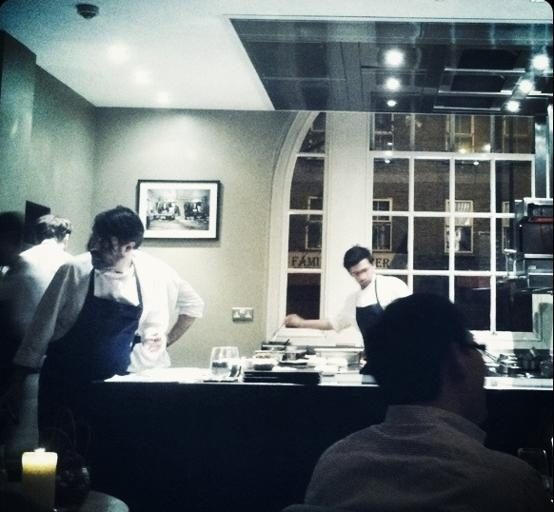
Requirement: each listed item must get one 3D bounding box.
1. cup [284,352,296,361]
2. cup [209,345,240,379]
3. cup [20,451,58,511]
[{"bbox_3d":[0.055,0.407,2.467,0.042,0.041,0.043,1,-6,0],"label":"cup"},{"bbox_3d":[-0.198,0.399,2.217,0.133,0.137,0.136,1,-8,0],"label":"cup"},{"bbox_3d":[-0.617,0.581,1.564,0.099,0.122,0.048,3,-3,12],"label":"cup"}]
